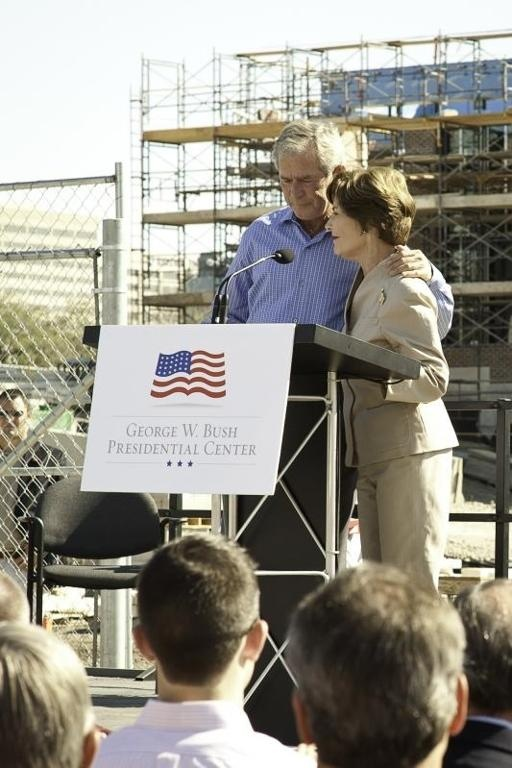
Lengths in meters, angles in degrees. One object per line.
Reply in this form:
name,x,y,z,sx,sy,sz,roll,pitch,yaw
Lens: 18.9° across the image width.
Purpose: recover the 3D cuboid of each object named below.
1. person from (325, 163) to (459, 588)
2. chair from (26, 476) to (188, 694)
person,0.297,-0.003,3.265,0.267,0.946,0.488,-1,2,3
chair,-0.528,0.639,5.262,0.533,0.596,0.454,2,-3,-14
